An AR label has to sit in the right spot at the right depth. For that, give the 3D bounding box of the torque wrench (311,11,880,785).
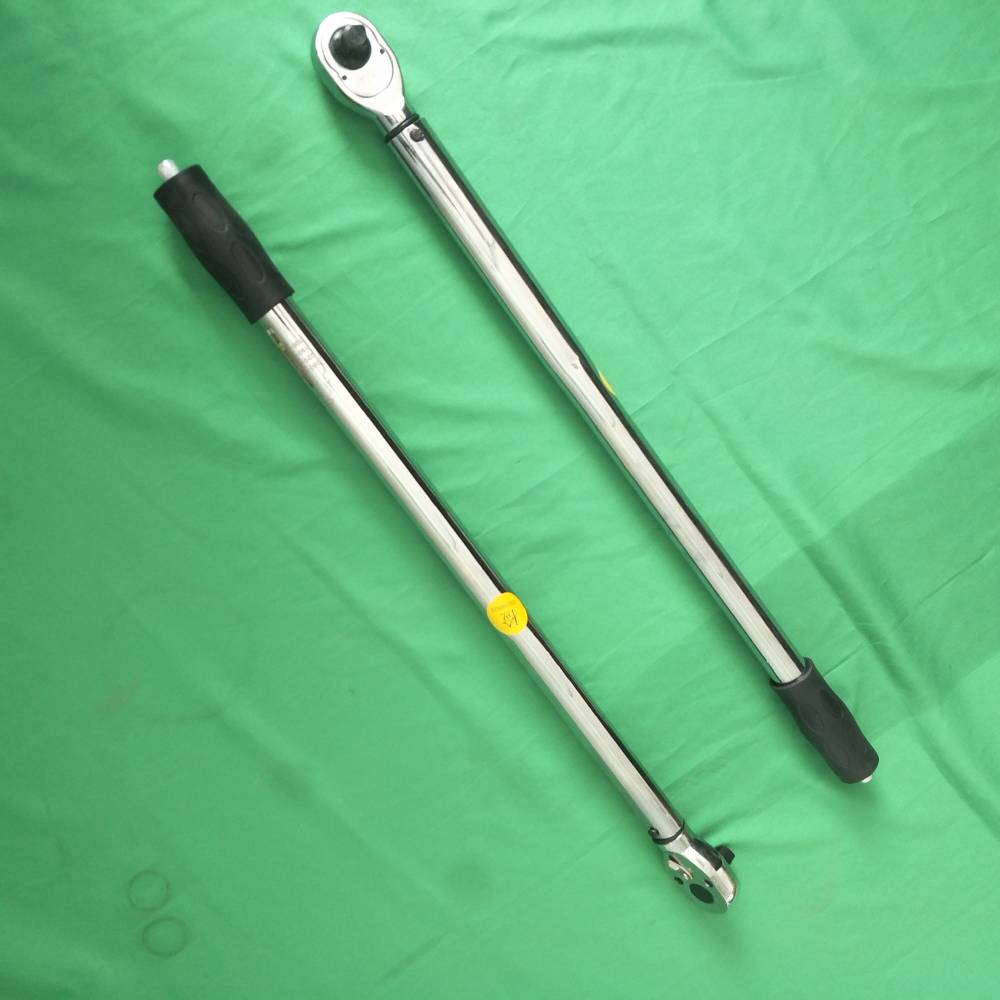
[{"bbox_3d":[0.055,-0.095,0.857,0.081,0.070,0.720,-43,-82,7],"label":"torque wrench"}]

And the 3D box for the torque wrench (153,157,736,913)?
[{"bbox_3d":[-0.055,0.006,0.856,0.685,0.082,0.073,46,-67,-3],"label":"torque wrench"}]
